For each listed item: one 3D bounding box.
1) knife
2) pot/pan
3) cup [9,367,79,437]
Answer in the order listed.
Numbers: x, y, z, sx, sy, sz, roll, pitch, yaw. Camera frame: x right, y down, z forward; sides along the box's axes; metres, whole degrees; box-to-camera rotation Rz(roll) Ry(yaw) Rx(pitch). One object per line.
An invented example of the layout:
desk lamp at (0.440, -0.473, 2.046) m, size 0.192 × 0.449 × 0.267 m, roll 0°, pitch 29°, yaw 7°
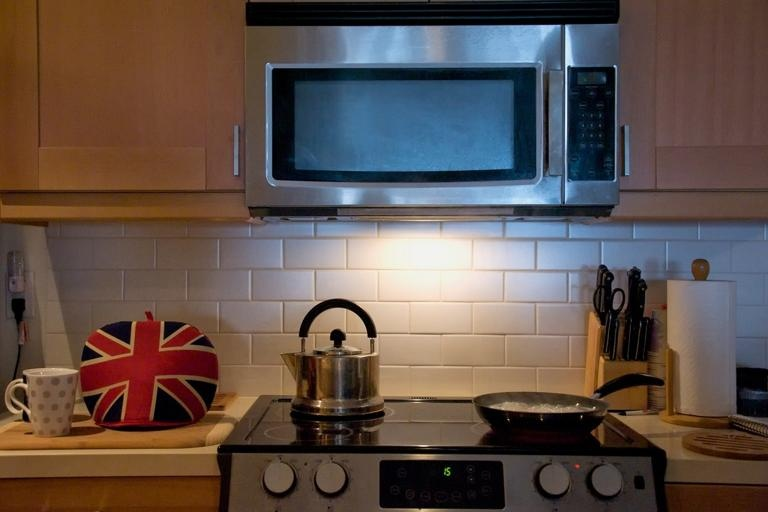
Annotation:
knife at (0.827, 0.185, 2.786) m, size 0.192 × 0.306 × 0.225 m, roll 0°, pitch 6°, yaw 13°
pot/pan at (0.560, 0.469, 2.447) m, size 0.442 × 0.125 × 0.257 m, roll 2°, pitch -7°, yaw -3°
cup at (-1.082, 0.441, 2.520) m, size 0.273 × 0.188 × 0.158 m, roll 3°, pitch 8°, yaw 40°
